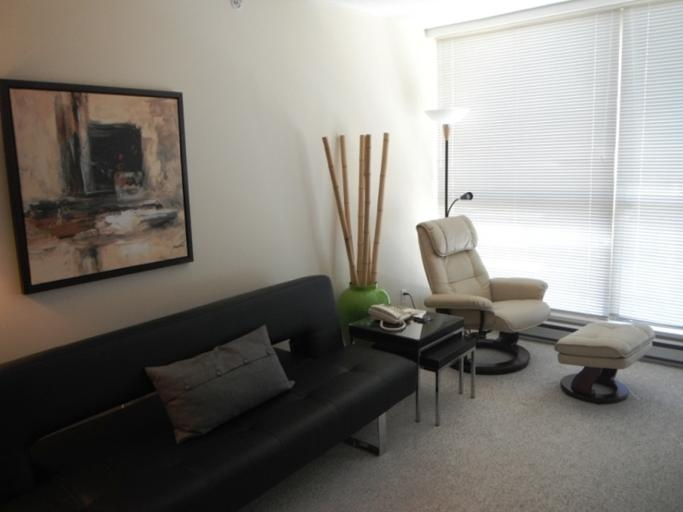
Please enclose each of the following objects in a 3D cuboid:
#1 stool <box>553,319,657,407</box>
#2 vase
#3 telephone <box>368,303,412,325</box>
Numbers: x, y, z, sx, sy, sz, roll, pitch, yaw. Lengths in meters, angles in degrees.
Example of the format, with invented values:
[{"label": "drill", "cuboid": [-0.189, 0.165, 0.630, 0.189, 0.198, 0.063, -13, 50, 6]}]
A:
[{"label": "stool", "cuboid": [2.011, 0.798, 3.693, 0.545, 0.502, 0.645, 6, 18, 42]}, {"label": "vase", "cuboid": [0.208, 0.461, 4.061, 0.433, 0.499, 0.418, 2, 10, 12]}, {"label": "telephone", "cuboid": [0.355, 0.425, 3.593, 0.173, 0.054, 0.193, 11, 17, 37]}]
